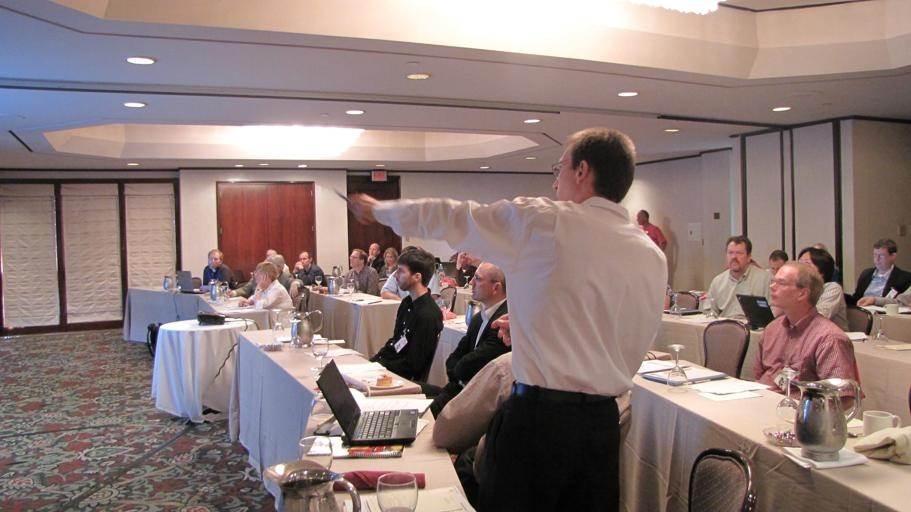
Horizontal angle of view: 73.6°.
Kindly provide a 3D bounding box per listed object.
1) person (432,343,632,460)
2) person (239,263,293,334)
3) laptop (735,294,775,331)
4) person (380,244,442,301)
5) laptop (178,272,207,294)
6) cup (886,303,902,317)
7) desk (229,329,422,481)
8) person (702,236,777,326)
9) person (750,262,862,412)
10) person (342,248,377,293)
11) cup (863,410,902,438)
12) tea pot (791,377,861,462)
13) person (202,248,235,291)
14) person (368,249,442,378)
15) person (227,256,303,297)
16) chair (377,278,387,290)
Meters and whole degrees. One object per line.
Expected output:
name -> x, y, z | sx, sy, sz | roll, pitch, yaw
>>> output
person -> 0.394, 1.162, 5.024 | 0.601, 0.803, 1.152 | 10, 3, 38
person -> -2.793, 0.687, 8.916 | 0.820, 1.208, 0.566 | 6, 17, -19
laptop -> 3.403, 0.638, 6.912 | 0.316, 0.344, 0.424 | -27, 30, -32
person -> -0.652, 0.249, 8.511 | 0.987, 0.850, 0.586 | 0, -21, 12
laptop -> -4.578, 0.466, 10.503 | 0.415, 0.321, 0.557 | -6, -2, -13
cup -> 5.147, 0.633, 7.141 | 0.148, 0.101, 0.112 | -3, -6, 33
desk -> -1.490, 0.954, 6.376 | 1.200, 1.598, 3.192 | 5, 0, -27
person -> 3.643, 0.355, 7.866 | 1.097, 1.177, 0.825 | -3, -11, 44
person -> 3.263, 0.782, 5.688 | 0.768, 1.344, 1.434 | 3, 1, 2
person -> -1.726, 0.268, 10.958 | 0.637, 0.914, 0.759 | 6, -11, -44
cup -> 3.185, 1.246, 4.536 | 0.282, 0.171, 0.126 | -1, 3, -12
tea pot -> 2.661, 1.190, 4.402 | 0.378, 0.577, 0.134 | -1, 3, -8
person -> -4.447, 0.371, 11.296 | 0.626, 0.936, 0.569 | 3, 3, -10
person -> -0.599, 0.884, 6.854 | 1.015, 1.795, 0.902 | -1, 11, -9
person -> -3.381, 0.352, 10.641 | 0.827, 0.495, 1.555 | -6, 13, -37
chair -> -1.292, 0.470, 10.600 | 0.178, 0.118, 0.169 | 0, -5, -1
